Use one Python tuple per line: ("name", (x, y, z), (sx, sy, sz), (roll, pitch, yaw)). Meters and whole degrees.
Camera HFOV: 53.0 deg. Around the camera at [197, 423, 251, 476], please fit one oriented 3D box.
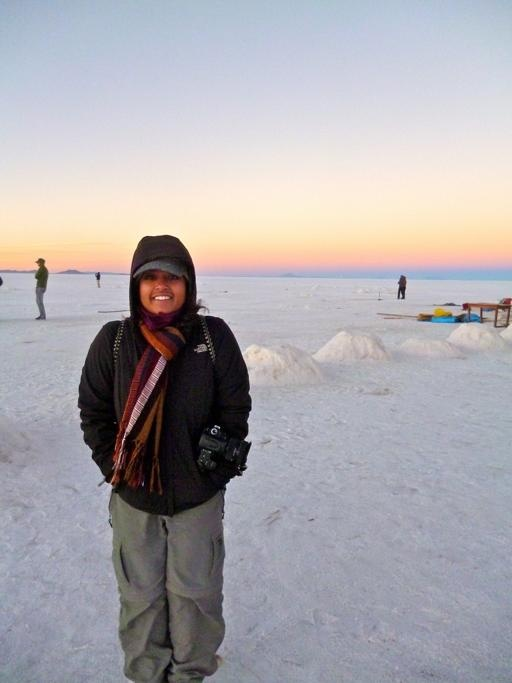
("camera", (-0.112, 0.364, 1.875), (0.217, 0.206, 0.140), (12, 48, -2))
